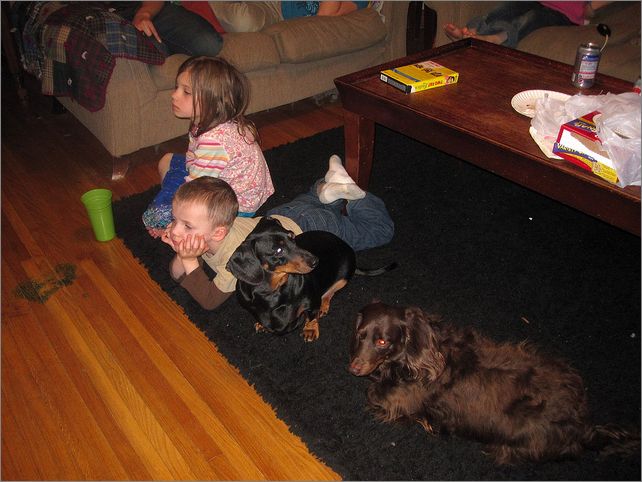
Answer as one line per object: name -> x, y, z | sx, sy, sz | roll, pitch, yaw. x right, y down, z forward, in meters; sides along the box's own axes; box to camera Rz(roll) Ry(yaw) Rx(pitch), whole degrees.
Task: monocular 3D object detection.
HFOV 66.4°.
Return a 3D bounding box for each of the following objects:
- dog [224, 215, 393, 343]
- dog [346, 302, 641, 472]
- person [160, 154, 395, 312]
dog -> -0.091, 0.152, 2.147 | 0.560, 0.595, 0.282 | -34, 46, -27
dog -> 0.540, 0.474, 2.023 | 1.256, 0.542, 0.473 | 18, 77, 17
person -> -0.181, -0.112, 2.361 | 1.102, 0.447, 0.643 | -21, 36, -26
